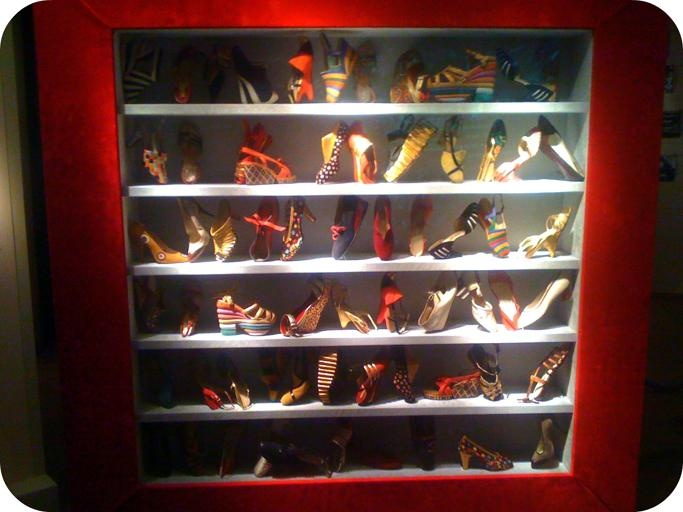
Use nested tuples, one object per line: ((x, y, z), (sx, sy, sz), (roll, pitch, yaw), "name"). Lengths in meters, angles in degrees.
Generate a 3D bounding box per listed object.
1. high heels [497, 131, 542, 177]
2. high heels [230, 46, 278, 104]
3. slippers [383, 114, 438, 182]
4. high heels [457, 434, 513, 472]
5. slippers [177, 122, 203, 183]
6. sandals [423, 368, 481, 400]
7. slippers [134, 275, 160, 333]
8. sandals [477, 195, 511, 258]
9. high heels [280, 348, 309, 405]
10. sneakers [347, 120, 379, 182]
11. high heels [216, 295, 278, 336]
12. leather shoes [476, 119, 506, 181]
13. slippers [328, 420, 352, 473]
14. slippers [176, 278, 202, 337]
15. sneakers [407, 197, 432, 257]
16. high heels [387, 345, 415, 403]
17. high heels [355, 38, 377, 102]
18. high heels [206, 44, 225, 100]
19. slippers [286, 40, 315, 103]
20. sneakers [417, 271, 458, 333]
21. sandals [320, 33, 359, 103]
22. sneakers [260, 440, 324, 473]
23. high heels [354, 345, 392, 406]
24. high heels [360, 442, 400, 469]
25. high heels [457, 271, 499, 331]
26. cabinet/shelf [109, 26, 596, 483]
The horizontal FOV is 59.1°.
((1.042, -0.580, 3.508), (0.132, 0.122, 0.483), (13, -14, 2), "high heels")
((-0.495, -0.976, 3.405), (0.172, 0.369, 0.126), (-19, 16, -8), "high heels")
((0.361, -0.631, 3.432), (0.185, 0.457, 0.177), (28, 27, -6), "slippers")
((0.789, 1.142, 3.446), (0.362, 0.226, 0.129), (0, -13, 3), "high heels")
((-0.852, -0.578, 3.392), (0.110, 0.337, 0.095), (-3, 12, -6), "slippers")
((0.640, 0.755, 3.536), (0.320, 0.132, 0.142), (1, -4, -2), "sandals")
((-1.098, 0.269, 3.398), (0.072, 0.303, 0.108), (5, 11, 43), "slippers")
((0.878, -0.165, 3.489), (0.130, 0.393, 0.135), (-8, 7, 4), "sandals")
((-0.244, 0.691, 3.508), (0.107, 0.394, 0.148), (7, -5, 17), "high heels")
((0.112, -0.561, 3.362), (0.116, 0.392, 0.135), (-4, 4, -2), "sneakers")
((-0.560, 0.344, 3.495), (0.302, 0.230, 0.185), (-1, 1, -5), "high heels")
((0.848, -0.599, 3.397), (0.105, 0.427, 0.054), (7, 9, 0), "leather shoes")
((-0.013, 1.069, 3.429), (0.094, 0.285, 0.076), (0, -4, 39), "slippers")
((-0.879, 0.299, 3.439), (0.098, 0.325, 0.074), (6, -9, -6), "slippers")
((0.459, -0.169, 3.497), (0.115, 0.349, 0.080), (4, -3, -1), "sneakers")
((0.347, 0.680, 3.521), (0.113, 0.349, 0.107), (-13, 7, 14), "high heels")
((0.128, -1.022, 3.355), (0.108, 0.332, 0.099), (2, 3, -8), "high heels")
((-0.693, -1.005, 3.307), (0.085, 0.282, 0.062), (-1, 9, -4), "high heels")
((-0.227, -1.013, 3.346), (0.143, 0.345, 0.096), (0, 1, -6), "slippers")
((0.569, 0.268, 3.533), (0.155, 0.435, 0.156), (6, -16, 47), "sneakers")
((-0.027, -1.029, 3.340), (0.128, 0.443, 0.164), (12, 10, 22), "sandals")
((-0.286, 1.146, 3.388), (0.307, 0.185, 0.118), (9, -4, 0), "sneakers")
((0.173, 0.690, 3.468), (0.101, 0.397, 0.133), (6, 8, -43), "high heels")
((0.220, 1.138, 3.446), (0.176, 0.070, 0.100), (-1, 5, 30), "high heels")
((0.883, 0.271, 3.693), (0.172, 0.124, 0.510), (-34, -4, 24), "high heels")
((0.012, -0.017, 3.393), (2.134, 2.301, 0.737), (-1, 4, -4), "cabinet/shelf")
